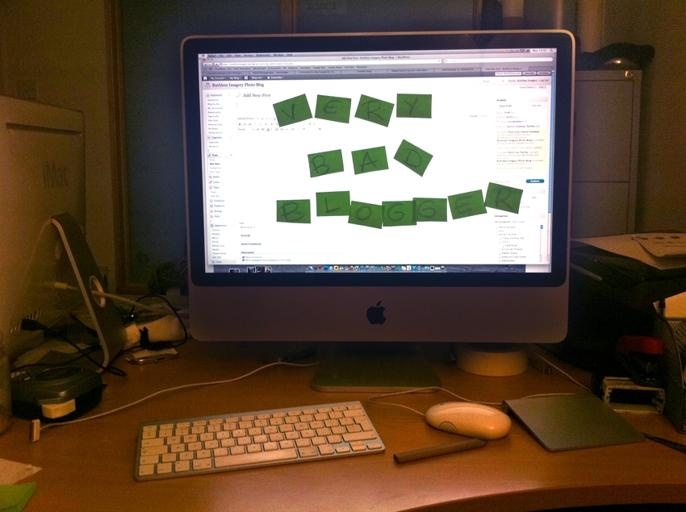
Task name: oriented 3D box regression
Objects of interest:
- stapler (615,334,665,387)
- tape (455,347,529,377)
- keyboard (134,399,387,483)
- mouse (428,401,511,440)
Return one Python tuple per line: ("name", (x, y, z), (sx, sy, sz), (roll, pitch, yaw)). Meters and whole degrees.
("stapler", (0.535, 0.183, 1.085), (0.051, 0.031, 0.086), (2, 21, 10))
("tape", (0.304, 0.212, 1.235), (0.142, 0.053, 0.114), (4, 11, 20))
("keyboard", (-0.142, 0.298, 1.014), (0.390, 0.015, 0.145), (-2, 17, -15))
("mouse", (0.212, 0.276, 1.063), (0.143, 0.046, 0.086), (6, 10, 22))
